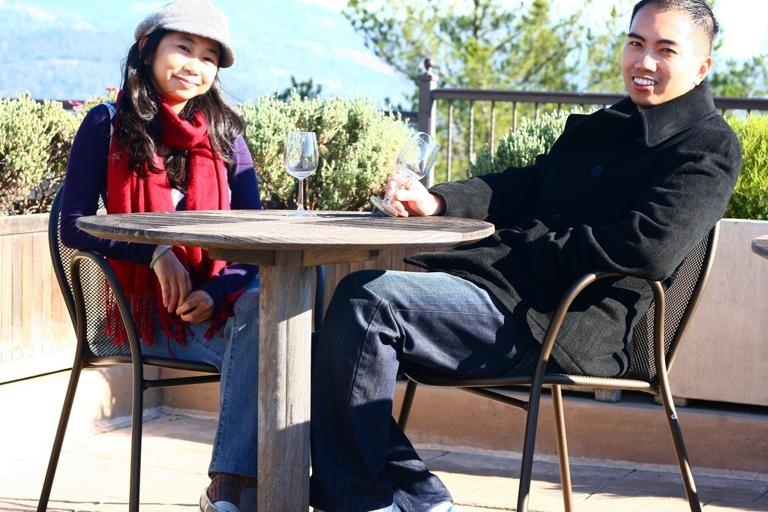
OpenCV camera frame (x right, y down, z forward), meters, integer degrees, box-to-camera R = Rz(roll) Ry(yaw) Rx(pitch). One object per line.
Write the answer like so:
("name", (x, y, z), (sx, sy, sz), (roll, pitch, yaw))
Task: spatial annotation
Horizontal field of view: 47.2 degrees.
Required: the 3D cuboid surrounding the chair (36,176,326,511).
("chair", (-0.868, 0.432, 4.621), (1.132, 2.228, 1.251), (-6, -8, 42))
